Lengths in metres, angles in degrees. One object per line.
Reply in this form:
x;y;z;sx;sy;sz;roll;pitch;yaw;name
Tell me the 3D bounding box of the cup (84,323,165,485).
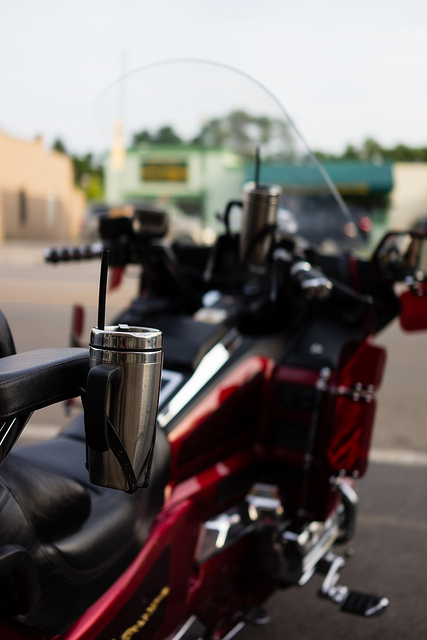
-0.099;0.102;0.582;0.077;0.180;0.066;2;13;-7;cup
